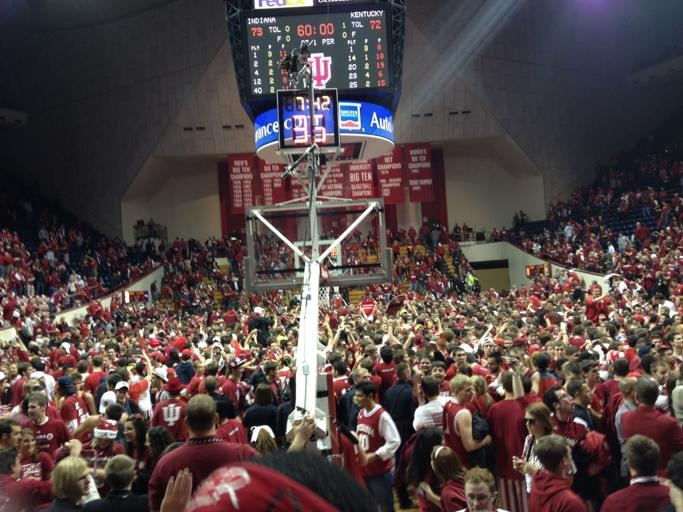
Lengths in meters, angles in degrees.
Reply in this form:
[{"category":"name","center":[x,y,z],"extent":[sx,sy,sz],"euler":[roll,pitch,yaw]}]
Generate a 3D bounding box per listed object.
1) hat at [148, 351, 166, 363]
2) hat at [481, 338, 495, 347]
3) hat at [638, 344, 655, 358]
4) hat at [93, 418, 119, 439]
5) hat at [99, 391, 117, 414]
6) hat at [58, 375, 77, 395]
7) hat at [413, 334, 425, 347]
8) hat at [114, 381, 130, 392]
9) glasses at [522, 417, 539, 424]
[{"category":"hat","center":[-3.808,2.067,12.620],"extent":[0.274,0.250,0.303],"euler":[21,-29,-19]},{"category":"hat","center":[2.497,1.482,10.263],"extent":[0.133,0.182,0.140],"euler":[2,33,7]},{"category":"hat","center":[4.568,1.403,9.086],"extent":[0.209,0.172,0.357],"euler":[-3,-9,28]},{"category":"hat","center":[-2.978,2.154,7.680],"extent":[0.234,0.298,0.318],"euler":[8,-22,-15]},{"category":"hat","center":[-3.527,2.226,9.210],"extent":[0.221,0.337,0.792],"euler":[4,-8,-20]},{"category":"hat","center":[-4.359,2.001,9.635],"extent":[0.238,0.329,0.321],"euler":[-5,21,-15]},{"category":"hat","center":[1.610,1.713,12.404],"extent":[0.188,0.221,0.184],"euler":[-4,13,6]},{"category":"hat","center":[-3.324,1.944,9.118],"extent":[0.156,0.154,0.269],"euler":[4,-4,-14]},{"category":"glasses","center":[2.187,1.866,6.927],"extent":[0.109,0.045,0.108],"euler":[13,-14,-32]}]
